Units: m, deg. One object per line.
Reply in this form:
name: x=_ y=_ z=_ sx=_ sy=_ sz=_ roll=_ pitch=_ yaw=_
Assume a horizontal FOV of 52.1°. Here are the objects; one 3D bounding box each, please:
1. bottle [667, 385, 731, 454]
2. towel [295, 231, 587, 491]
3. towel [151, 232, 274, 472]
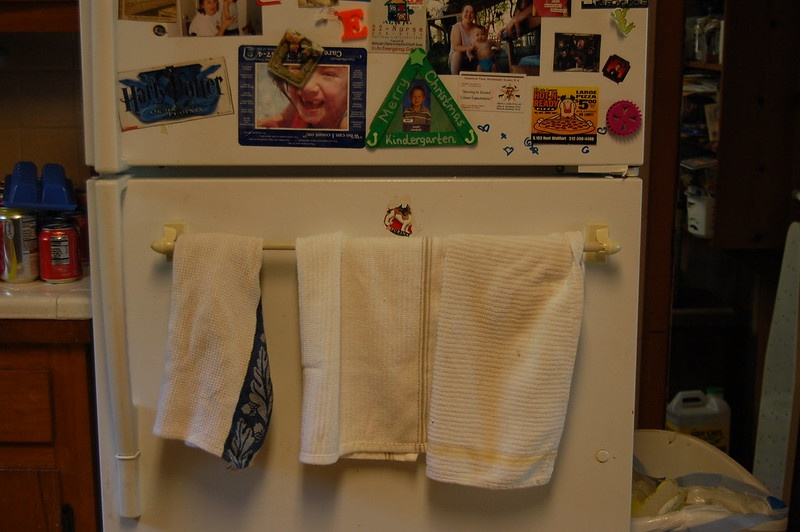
bottle: x=1.002 y=0.537 z=2.738 sx=0.169 sy=0.259 sz=0.137 roll=-9 pitch=13 yaw=-3
towel: x=0.086 y=0.181 z=1.787 sx=0.457 sy=0.495 sz=0.122 roll=2 pitch=6 yaw=5
towel: x=-0.416 y=0.184 z=1.799 sx=0.248 sy=0.502 sz=0.116 roll=0 pitch=9 yaw=12
